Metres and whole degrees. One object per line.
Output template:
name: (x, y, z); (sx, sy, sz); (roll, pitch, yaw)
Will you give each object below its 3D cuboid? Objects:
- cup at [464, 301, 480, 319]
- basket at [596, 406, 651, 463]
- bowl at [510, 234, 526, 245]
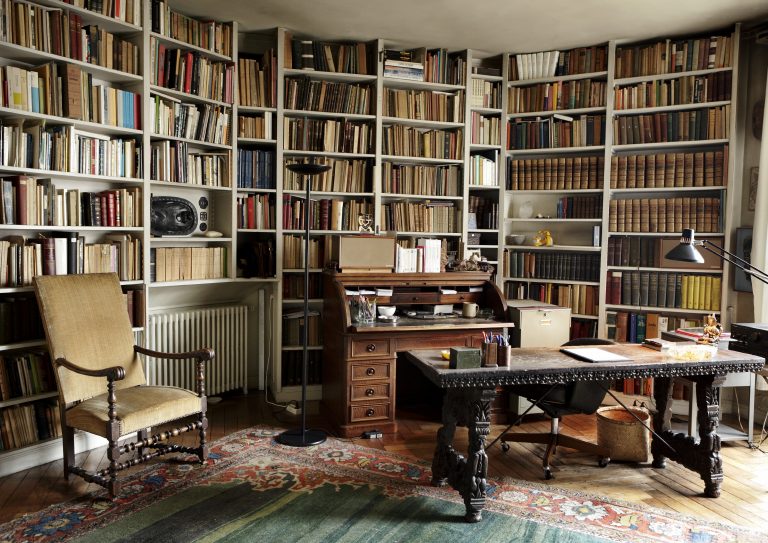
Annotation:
cup: (0.798, 0.346, 5.462); (0.156, 0.130, 0.142); (1, 11, 0)
basket: (1.847, 1.273, 4.788); (0.440, 0.319, 0.484); (0, 1, -8)
bowl: (1.409, -0.343, 6.343); (0.161, 0.069, 0.151); (-1, 1, 0)
